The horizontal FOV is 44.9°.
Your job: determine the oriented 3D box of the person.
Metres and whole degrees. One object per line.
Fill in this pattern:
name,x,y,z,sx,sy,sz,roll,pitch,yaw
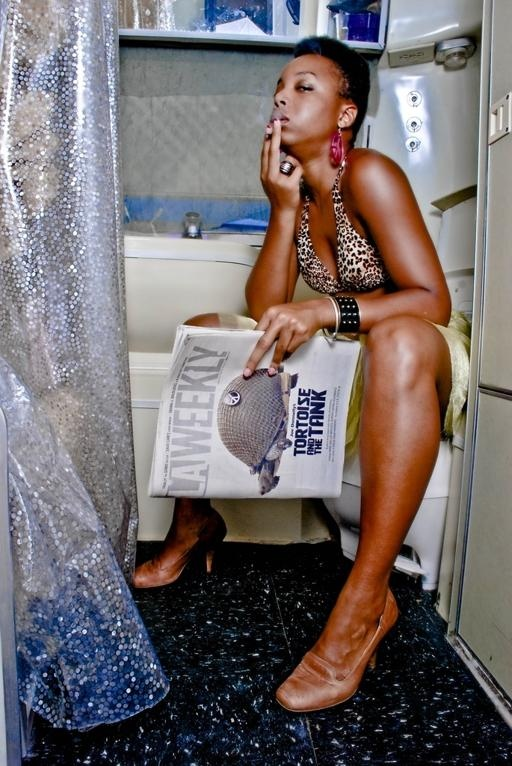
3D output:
person,0.096,-0.081,0.968,0.468,0.888,0.515,-1,3,-40

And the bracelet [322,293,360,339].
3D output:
bracelet,0.117,-0.083,0.845,0.034,0.063,0.058,2,14,-8

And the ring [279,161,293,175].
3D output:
ring,0.053,-0.378,1.092,0.018,0.024,0.024,13,7,41

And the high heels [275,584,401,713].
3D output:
high heels,0.102,0.315,0.754,0.061,0.055,0.172,15,47,46
